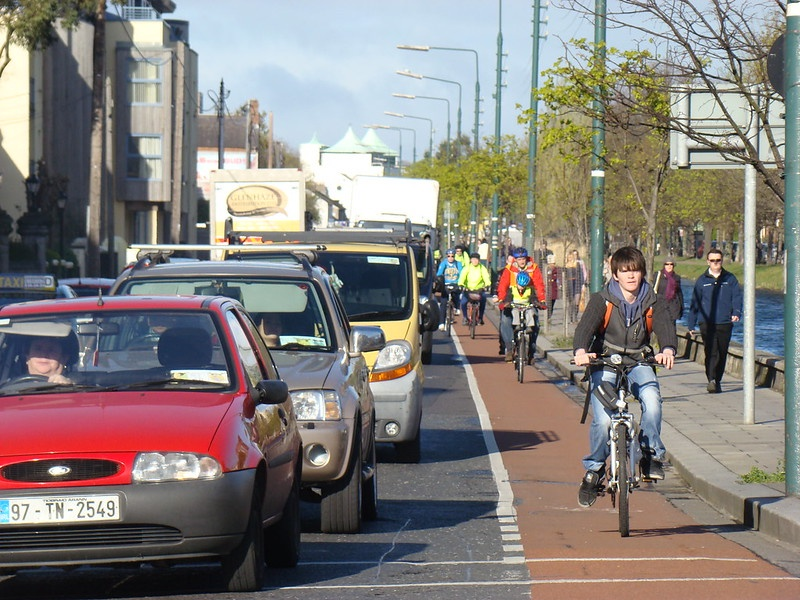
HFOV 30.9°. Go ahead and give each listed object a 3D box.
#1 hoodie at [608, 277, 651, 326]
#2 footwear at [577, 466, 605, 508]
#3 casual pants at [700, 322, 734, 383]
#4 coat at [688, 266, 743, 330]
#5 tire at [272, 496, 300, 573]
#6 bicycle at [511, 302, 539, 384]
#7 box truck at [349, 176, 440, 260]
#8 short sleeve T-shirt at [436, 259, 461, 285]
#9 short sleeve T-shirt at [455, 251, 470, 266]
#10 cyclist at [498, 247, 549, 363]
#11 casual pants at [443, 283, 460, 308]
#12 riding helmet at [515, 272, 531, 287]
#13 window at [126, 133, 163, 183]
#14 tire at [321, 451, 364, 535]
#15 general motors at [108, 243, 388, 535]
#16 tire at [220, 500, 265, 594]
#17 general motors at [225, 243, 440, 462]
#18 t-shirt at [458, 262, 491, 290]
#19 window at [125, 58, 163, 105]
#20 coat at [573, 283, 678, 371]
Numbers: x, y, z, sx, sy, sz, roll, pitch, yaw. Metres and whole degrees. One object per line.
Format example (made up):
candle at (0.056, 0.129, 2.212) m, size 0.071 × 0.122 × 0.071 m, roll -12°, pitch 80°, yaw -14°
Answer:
hoodie at (1.937, 0.016, 12.254) m, size 0.351 × 0.376 × 0.161 m, roll 3°, pitch -8°, yaw -2°
footwear at (1.602, 1.585, 12.248) m, size 0.140 × 0.174 × 0.433 m, roll 5°, pitch 29°, yaw 14°
casual pants at (4.482, 0.690, 20.556) m, size 0.397 × 0.951 × 0.340 m, roll 3°, pitch 6°, yaw -18°
coat at (4.486, 0.024, 20.542) m, size 0.451 × 0.880 × 1.095 m, roll -2°, pitch 6°, yaw -20°
tire at (-0.867, 1.723, 10.716) m, size 0.202 × 0.610 × 0.591 m, roll 0°, pitch -3°, yaw 6°
bicycle at (1.961, 0.680, 23.112) m, size 0.393 × 1.155 × 1.221 m, roll 1°, pitch 6°, yaw 5°
box truck at (-0.188, -2.105, 37.093) m, size 2.188 × 2.275 × 3.997 m, roll 3°, pitch 8°, yaw -2°
short sleeve T-shirt at (1.060, -0.619, 32.031) m, size 0.647 × 0.666 × 0.372 m, roll 2°, pitch -10°, yaw 5°
short sleeve T-shirt at (1.359, -0.947, 32.284) m, size 0.228 × 0.374 × 0.387 m, roll -15°, pitch -23°, yaw -3°
cyclist at (1.953, -0.035, 23.476) m, size 0.891 × 1.627 × 0.792 m, roll -1°, pitch -6°, yaw -13°
casual pants at (1.037, -0.179, 29.941) m, size 0.305 × 0.386 × 0.605 m, roll -2°, pitch -2°, yaw 2°
riding helmet at (1.982, -0.345, 23.409) m, size 0.239 × 0.270 × 0.141 m, roll 0°, pitch 6°, yaw -5°
window at (-11.476, -6.331, 64.244) m, size 2.080 × 2.677 × 0.257 m, roll 0°, pitch 2°, yaw 0°
tire at (-0.490, 1.540, 11.662) m, size 0.267 × 0.685 × 0.665 m, roll -1°, pitch -3°, yaw 8°
general motors at (-1.071, 0.600, 12.183) m, size 1.677 × 1.561 × 2.614 m, roll 0°, pitch -4°, yaw 2°
tire at (-1.093, 1.666, 9.861) m, size 0.188 × 0.617 × 0.597 m, roll -4°, pitch 8°, yaw 7°
general motors at (-0.659, 0.193, 17.840) m, size 2.266 × 2.385 × 4.320 m, roll 3°, pitch 11°, yaw 5°
t-shirt at (1.618, -0.491, 32.009) m, size 0.871 × 0.822 × 0.499 m, roll 1°, pitch -1°, yaw 3°
window at (-11.519, -9.747, 64.188) m, size 1.933 × 2.477 × 0.224 m, roll 0°, pitch 5°, yaw -14°
coat at (1.886, 0.233, 12.259) m, size 0.906 × 0.805 × 0.574 m, roll 1°, pitch 0°, yaw 1°
